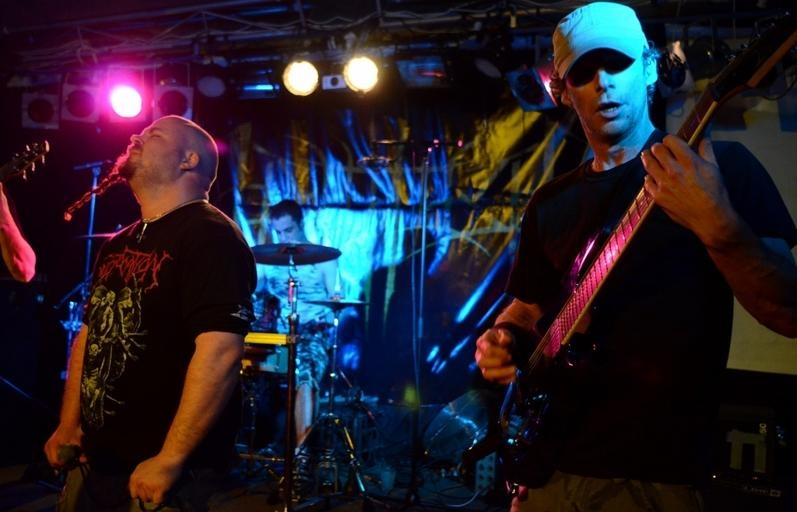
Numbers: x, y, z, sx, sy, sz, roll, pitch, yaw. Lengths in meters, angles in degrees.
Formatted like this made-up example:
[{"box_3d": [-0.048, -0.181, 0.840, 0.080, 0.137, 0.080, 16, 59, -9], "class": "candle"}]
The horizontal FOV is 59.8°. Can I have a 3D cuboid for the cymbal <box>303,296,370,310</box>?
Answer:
[{"box_3d": [-0.660, 0.512, 7.281, 0.478, 0.169, 0.609, 6, -10, -18], "class": "cymbal"}]

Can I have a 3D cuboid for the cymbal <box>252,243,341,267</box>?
[{"box_3d": [-1.124, 0.000, 7.531, 0.462, 0.087, 0.462, 3, -24, -20], "class": "cymbal"}]
